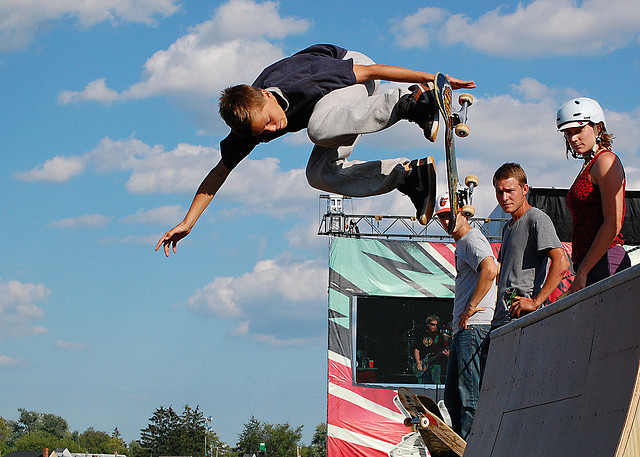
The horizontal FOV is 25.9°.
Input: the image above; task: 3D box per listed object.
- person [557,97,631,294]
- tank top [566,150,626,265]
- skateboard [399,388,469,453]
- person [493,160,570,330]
[{"bbox_3d":[3.732,-0.360,19.094,0.951,2.761,1.097,0,-21,15],"label":"person"},{"bbox_3d":[3.657,-0.306,19.247,0.411,1.439,0.864,13,-22,-20],"label":"tank top"},{"bbox_3d":[1.752,2.928,21.200,1.590,0.242,0.464,44,-35,-5],"label":"skateboard"},{"bbox_3d":[3.026,0.243,20.196,1.055,2.287,0.708,2,-21,9],"label":"person"}]
